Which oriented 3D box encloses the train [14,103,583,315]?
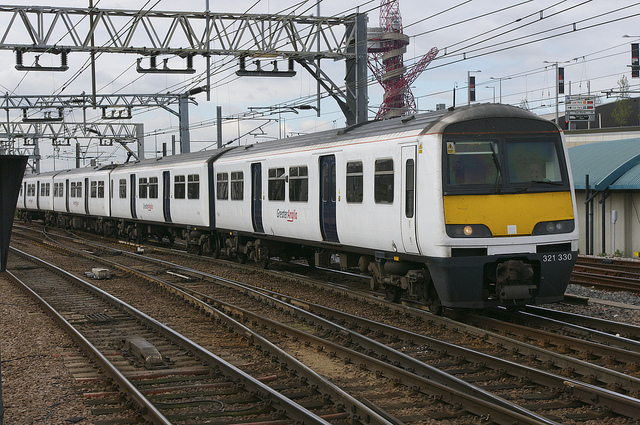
[{"bbox_3d":[-3.013,-0.975,26.486,3.055,3.177,30.967,-16,10,-26],"label":"train"}]

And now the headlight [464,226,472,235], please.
[{"bbox_3d":[2.948,0.369,13.157,0.148,0.160,0.032,-1,0,10],"label":"headlight"}]

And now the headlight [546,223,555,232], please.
[{"bbox_3d":[4.680,0.307,13.421,0.148,0.139,0.036,-2,-5,-13],"label":"headlight"}]
